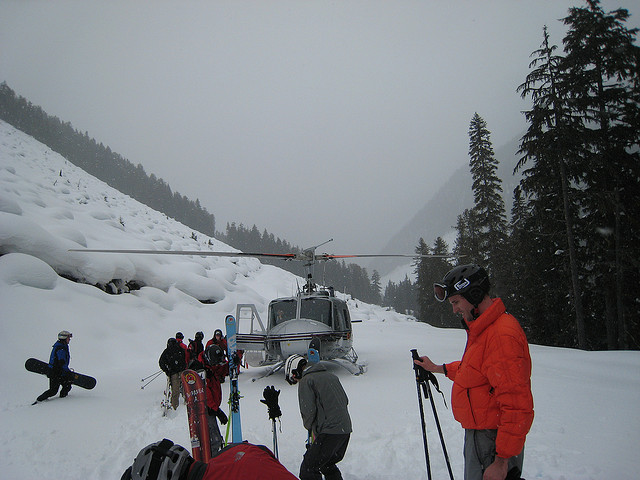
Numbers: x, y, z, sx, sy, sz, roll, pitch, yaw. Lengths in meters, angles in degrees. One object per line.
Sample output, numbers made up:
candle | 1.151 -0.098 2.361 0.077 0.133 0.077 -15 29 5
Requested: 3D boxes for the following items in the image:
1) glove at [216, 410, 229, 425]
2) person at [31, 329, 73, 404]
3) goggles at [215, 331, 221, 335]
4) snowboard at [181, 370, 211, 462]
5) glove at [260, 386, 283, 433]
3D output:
glove | -2.737 4.937 12.191 0.309 0.374 0.425 1 -12 -12
person | -8.938 4.161 14.891 0.688 2.800 0.383 9 -1 25
goggles | -3.266 2.955 13.933 0.246 0.101 0.090 -5 -12 15
snowboard | -3.049 4.240 10.737 0.576 2.541 0.386 -3 -7 -14
glove | -1.179 3.943 10.568 0.475 0.829 0.617 0 -12 -7
